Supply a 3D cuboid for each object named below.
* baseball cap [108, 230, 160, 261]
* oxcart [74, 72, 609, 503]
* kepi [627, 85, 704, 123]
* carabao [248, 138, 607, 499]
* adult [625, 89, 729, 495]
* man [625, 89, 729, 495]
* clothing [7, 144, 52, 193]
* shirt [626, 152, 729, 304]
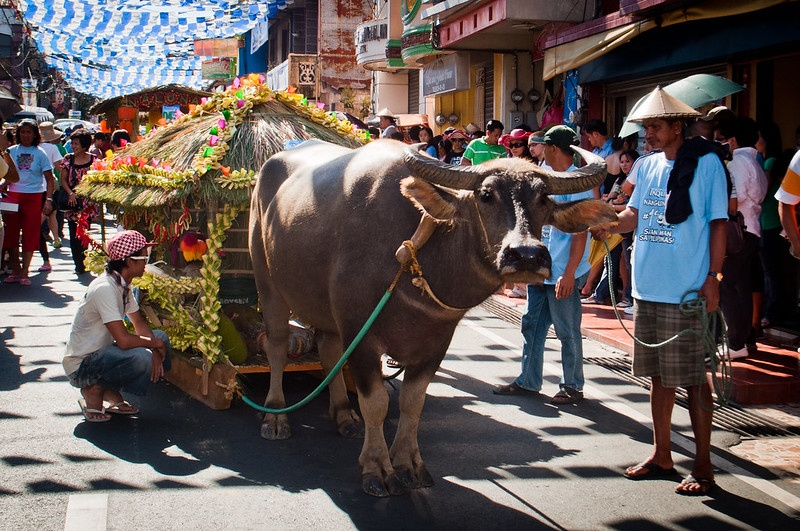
[{"bbox_3d":[-2.596,-0.172,6.825,0.345,0.185,0.248,-20,16,-23],"label":"baseball cap"},{"bbox_3d":[-0.732,0.083,7.079,2.671,3.463,6.302,-11,17,-41],"label":"oxcart"},{"bbox_3d":[2.119,-1.286,5.768,0.368,0.174,0.382,2,19,12],"label":"kepi"},{"bbox_3d":[-0.049,0.332,6.012,1.218,2.714,3.149,-9,16,-42],"label":"carabao"},{"bbox_3d":[2.188,0.280,5.784,0.981,2.923,0.699,8,13,34],"label":"adult"},{"bbox_3d":[2.187,0.280,5.784,0.980,2.923,0.704,8,13,33],"label":"man"},{"bbox_3d":[-6.362,-1.652,12.118,0.859,0.869,0.504,1,-4,-4],"label":"clothing"},{"bbox_3d":[2.223,-0.346,5.943,0.903,1.322,0.458,6,11,35],"label":"shirt"}]
